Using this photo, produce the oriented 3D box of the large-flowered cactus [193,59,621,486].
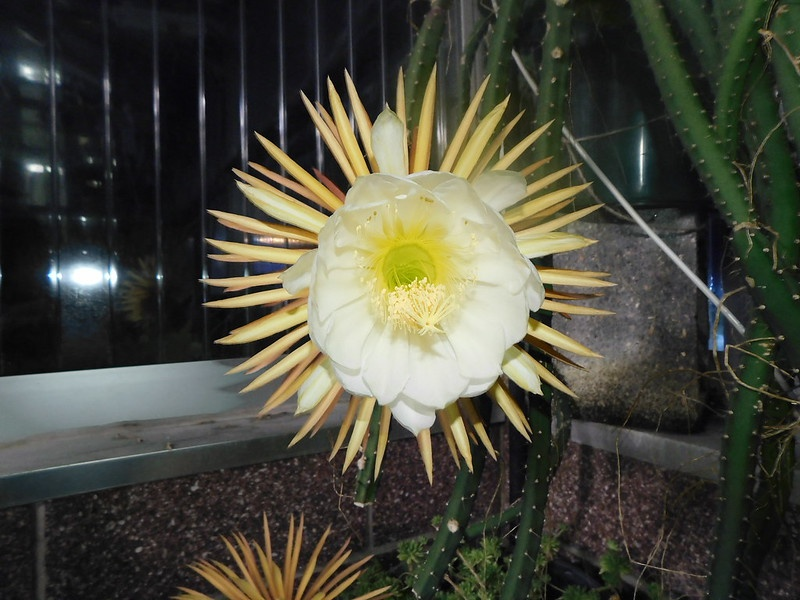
[{"bbox_3d":[0.007,-0.052,0.974,0.582,0.664,0.348,-6,30,-5],"label":"large-flowered cactus"}]
